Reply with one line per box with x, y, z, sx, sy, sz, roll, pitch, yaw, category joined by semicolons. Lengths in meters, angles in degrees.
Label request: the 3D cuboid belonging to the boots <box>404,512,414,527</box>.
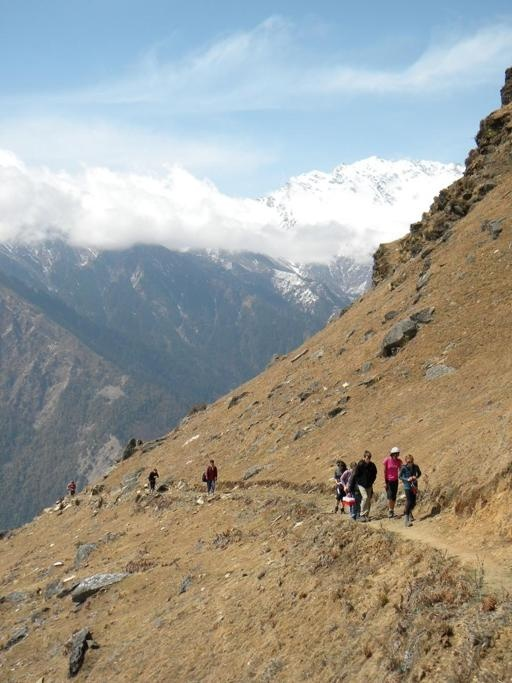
6.246;7.255;43.605;0.275;0.679;0.678;2;-31;-3;boots

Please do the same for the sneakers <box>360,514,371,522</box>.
4.639;7.490;45.217;0.360;0.209;0.278;14;-13;25;sneakers
